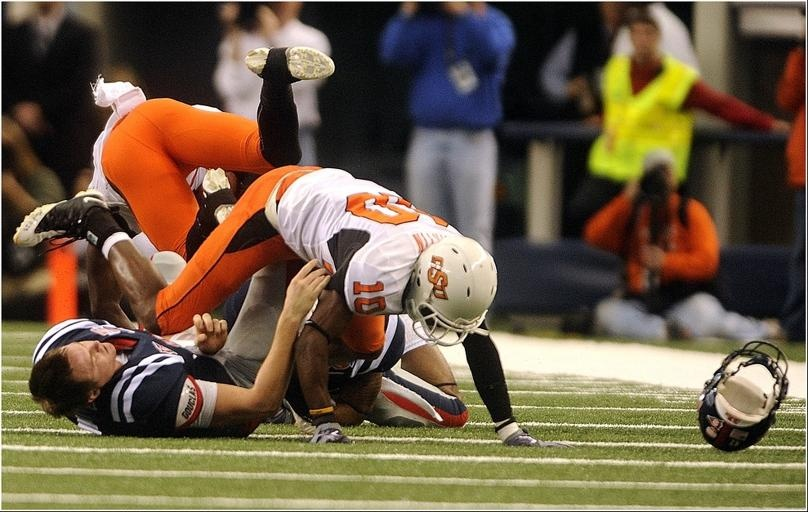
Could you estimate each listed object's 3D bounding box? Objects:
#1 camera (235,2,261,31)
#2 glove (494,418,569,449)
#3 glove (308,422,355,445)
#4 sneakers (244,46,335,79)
[{"bbox_3d":[-1.327,-2.019,10.157,0.193,0.245,0.078,9,3,17],"label":"camera"},{"bbox_3d":[0.734,0.995,6.744,0.465,0.186,0.154,0,2,6],"label":"glove"},{"bbox_3d":[-0.401,0.999,6.738,0.114,0.084,0.201,6,-13,-43],"label":"glove"},{"bbox_3d":[-0.557,-1.167,7.312,0.486,0.214,0.102,5,12,15],"label":"sneakers"}]
